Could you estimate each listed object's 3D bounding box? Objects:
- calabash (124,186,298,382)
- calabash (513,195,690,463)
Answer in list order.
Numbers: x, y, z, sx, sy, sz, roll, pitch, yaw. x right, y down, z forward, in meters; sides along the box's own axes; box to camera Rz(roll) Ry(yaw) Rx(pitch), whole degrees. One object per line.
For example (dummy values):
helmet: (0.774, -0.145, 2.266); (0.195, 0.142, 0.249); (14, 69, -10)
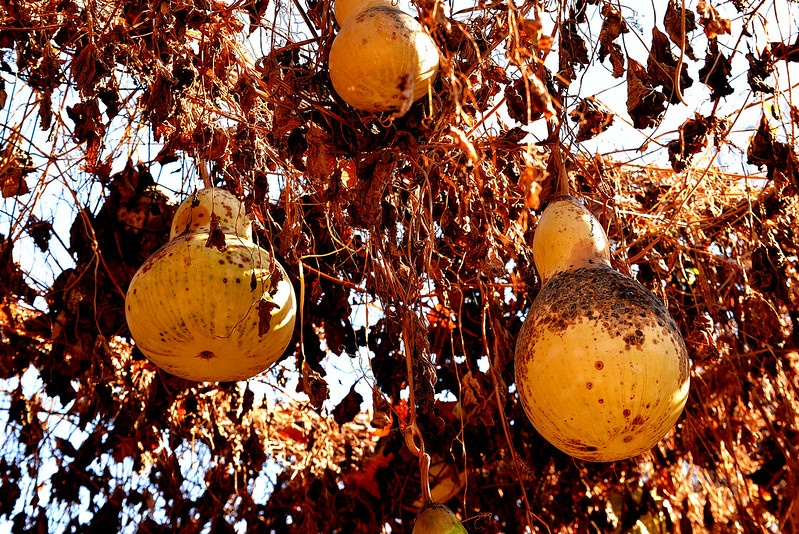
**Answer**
calabash: (-0.818, 0.057, 4.800); (0.626, 0.725, 0.938); (-9, 47, 3)
calabash: (0.708, 0.289, 4.282); (0.614, 0.390, 0.887); (-26, 64, -21)
